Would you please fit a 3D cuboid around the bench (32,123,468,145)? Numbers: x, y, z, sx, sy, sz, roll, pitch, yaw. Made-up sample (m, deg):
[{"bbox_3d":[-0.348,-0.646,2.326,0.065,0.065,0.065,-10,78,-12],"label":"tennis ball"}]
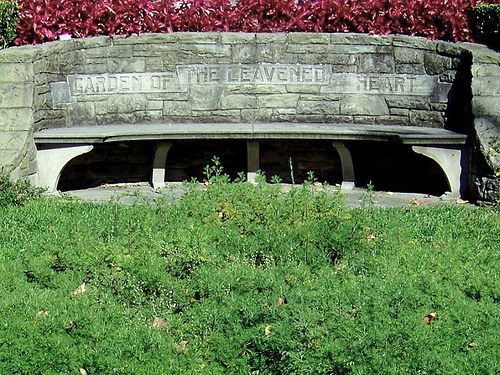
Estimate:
[{"bbox_3d":[0.045,-0.741,8.377,5.630,0.290,1.071,-1,13,2],"label":"bench"}]
